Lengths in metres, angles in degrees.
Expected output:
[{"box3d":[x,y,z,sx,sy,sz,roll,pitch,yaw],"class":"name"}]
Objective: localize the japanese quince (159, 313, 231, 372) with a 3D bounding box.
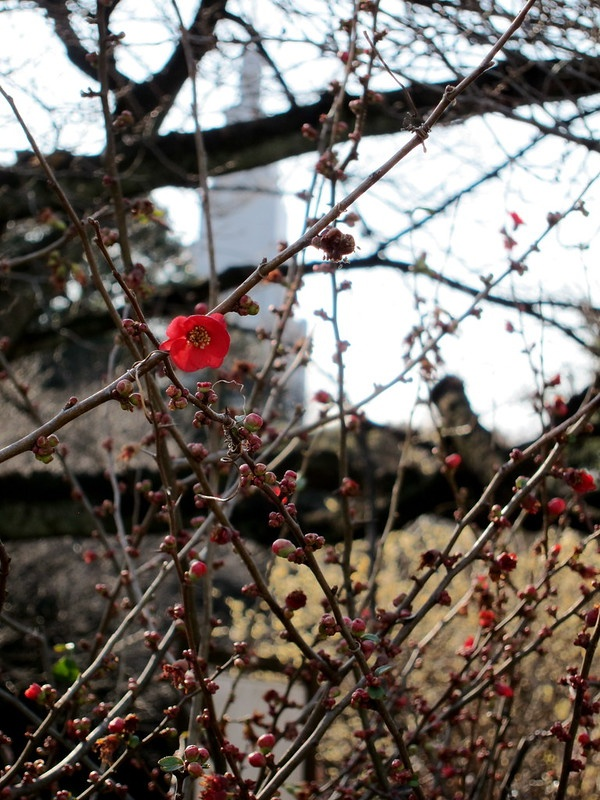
[{"box3d":[-0.334,-0.178,5.214,0.199,0.259,0.237,5,-56,7],"class":"japanese quince"}]
